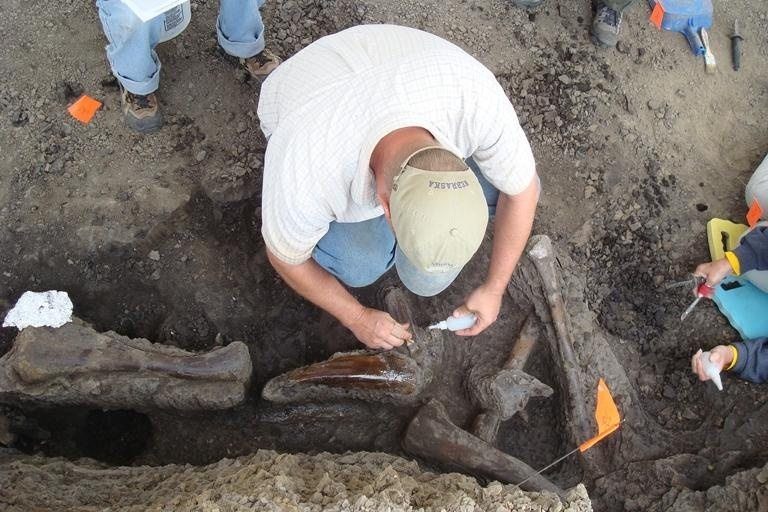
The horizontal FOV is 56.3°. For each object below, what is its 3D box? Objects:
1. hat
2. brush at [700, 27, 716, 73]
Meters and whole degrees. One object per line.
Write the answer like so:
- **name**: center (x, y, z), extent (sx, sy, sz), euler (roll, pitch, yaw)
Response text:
- **hat**: center (0.311, -0.178, 4.605), extent (0.539, 0.918, 0.461), euler (-3, 21, -13)
- **brush**: center (2.979, -1.849, 6.593), extent (0.104, 0.055, 0.476), euler (-4, 87, -22)
